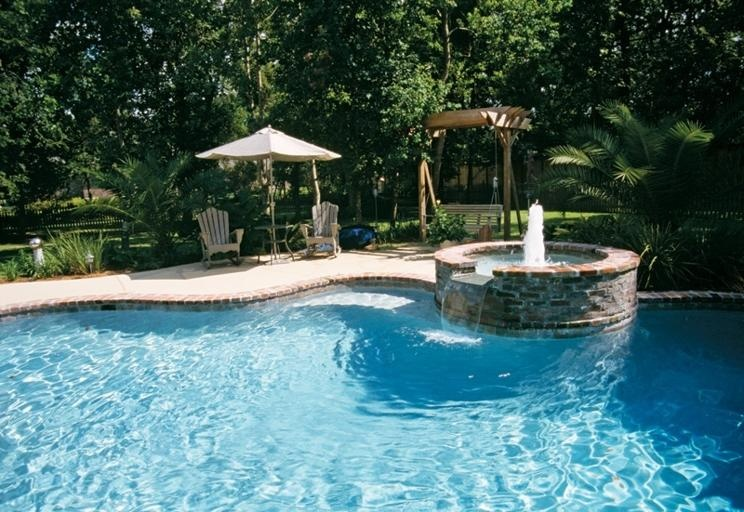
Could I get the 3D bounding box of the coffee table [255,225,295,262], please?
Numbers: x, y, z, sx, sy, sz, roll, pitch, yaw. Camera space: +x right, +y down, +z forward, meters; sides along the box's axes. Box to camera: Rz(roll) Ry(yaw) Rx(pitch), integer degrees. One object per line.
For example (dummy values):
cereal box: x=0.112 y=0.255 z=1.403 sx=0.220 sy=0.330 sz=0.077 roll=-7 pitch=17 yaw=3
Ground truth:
coffee table: x=-2.772 y=-0.313 z=18.024 sx=1.032 sy=0.859 sz=1.131 roll=0 pitch=0 yaw=-7

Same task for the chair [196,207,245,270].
chair: x=-4.069 y=-0.488 z=16.233 sx=1.239 sy=1.763 sz=1.722 roll=-6 pitch=12 yaw=-29

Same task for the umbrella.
umbrella: x=-2.806 y=-1.419 z=16.908 sx=3.658 sy=3.487 sz=3.800 roll=2 pitch=9 yaw=33
